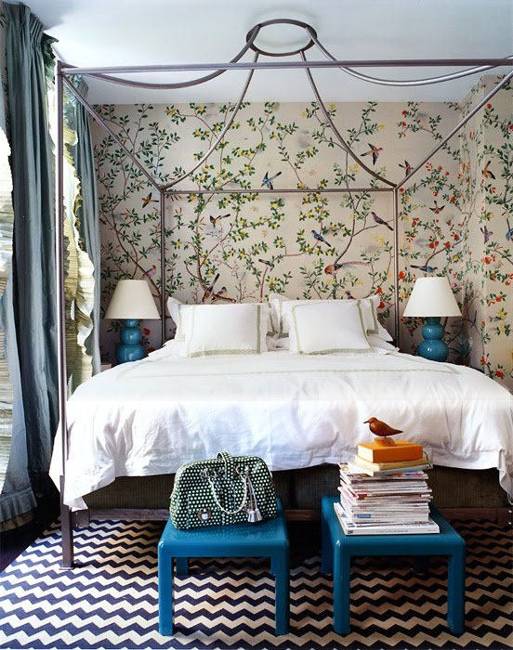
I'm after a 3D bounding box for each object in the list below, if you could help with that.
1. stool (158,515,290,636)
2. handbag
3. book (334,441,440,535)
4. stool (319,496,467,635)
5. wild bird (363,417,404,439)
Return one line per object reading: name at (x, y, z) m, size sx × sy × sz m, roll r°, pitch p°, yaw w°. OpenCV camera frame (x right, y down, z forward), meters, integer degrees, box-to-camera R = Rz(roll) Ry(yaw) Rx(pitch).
stool at (-0.098, 0.720, 1.743) m, size 0.336 × 0.230 × 0.329 m, roll -1°, pitch -3°, yaw -1°
handbag at (-0.103, 0.436, 1.751) m, size 0.367 × 0.210 × 0.191 m, roll -1°, pitch -5°, yaw -7°
book at (0.383, 0.480, 1.737) m, size 0.298 × 0.187 × 0.267 m, roll 0°, pitch -1°, yaw 2°
stool at (0.418, 0.732, 1.786) m, size 0.398 × 0.304 × 0.350 m, roll -1°, pitch 5°, yaw 1°
wild bird at (0.391, 0.325, 1.796) m, size 0.096 × 0.083 × 0.105 m, roll -1°, pitch 5°, yaw -6°
